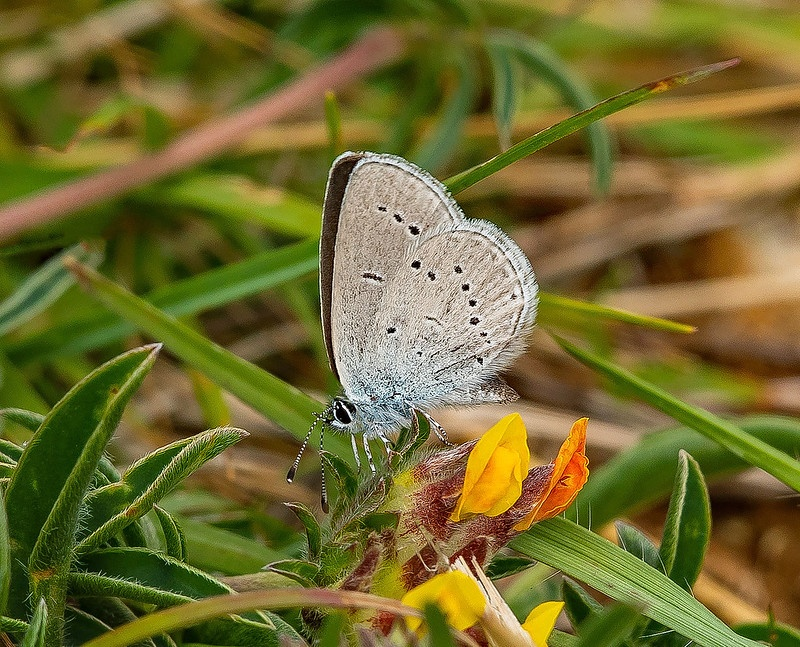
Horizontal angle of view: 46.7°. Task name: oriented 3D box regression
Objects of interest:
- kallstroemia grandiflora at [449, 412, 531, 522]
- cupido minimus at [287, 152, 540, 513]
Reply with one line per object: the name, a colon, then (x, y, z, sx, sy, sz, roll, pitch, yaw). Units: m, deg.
kallstroemia grandiflora: (0.204, 0.311, 1.985, 0.138, 0.238, 0.090, 11, 0, 7)
cupido minimus: (0.052, -0.027, 2.613, 0.650, 0.961, 0.282, 11, 0, -7)
